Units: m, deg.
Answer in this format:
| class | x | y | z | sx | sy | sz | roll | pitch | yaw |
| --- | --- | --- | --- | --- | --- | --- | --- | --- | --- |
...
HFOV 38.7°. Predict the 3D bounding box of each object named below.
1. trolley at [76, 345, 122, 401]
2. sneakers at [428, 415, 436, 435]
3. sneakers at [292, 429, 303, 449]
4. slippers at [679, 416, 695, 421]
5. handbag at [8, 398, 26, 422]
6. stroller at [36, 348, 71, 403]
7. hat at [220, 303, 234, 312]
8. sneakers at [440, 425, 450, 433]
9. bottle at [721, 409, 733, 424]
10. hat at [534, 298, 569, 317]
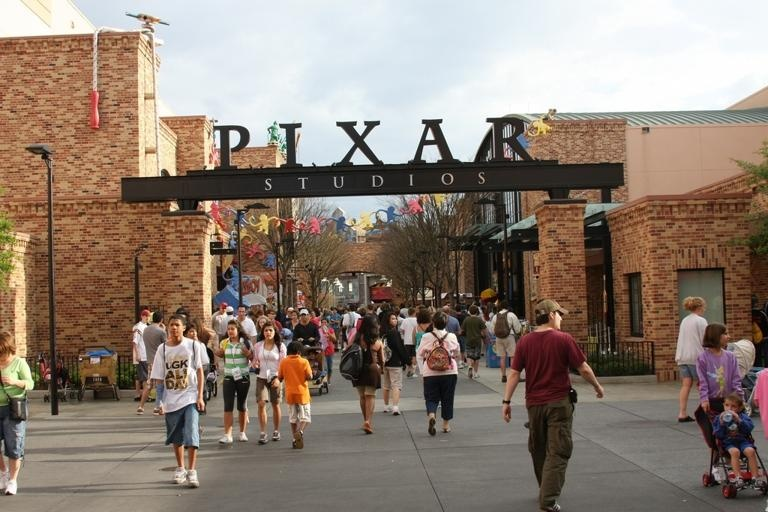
| class | x | y | z | sx | sy | sz | roll | pitch | yaw |
| --- | --- | --- | --- | --- | --- | --- | --- | --- | --- |
| trolley | -8.382 | 3.377 | 32.132 | 1.606 | 1.533 | 1.673 | 0 | -5 | -43 |
| sneakers | 1.119 | 4.010 | 25.752 | 0.166 | 0.424 | 0.189 | 0 | -8 | -4 |
| sneakers | -1.987 | 4.200 | 25.010 | 0.212 | 0.448 | 0.210 | -4 | -1 | 12 |
| slippers | 7.125 | 3.858 | 25.900 | 0.370 | 0.139 | 0.130 | -1 | 2 | -24 |
| handbag | -7.665 | 3.215 | 22.854 | 0.478 | 0.569 | 0.303 | 3 | -10 | -37 |
| stroller | -9.669 | 3.515 | 32.282 | 0.899 | 1.333 | 1.064 | -22 | -16 | 40 |
| hat | -4.679 | 1.517 | 32.571 | 0.323 | 0.243 | 0.444 | 1 | -4 | -7 |
| sneakers | 1.435 | 4.113 | 25.986 | 0.153 | 0.182 | 0.441 | 2 | 5 | 8 |
| bottle | 6.757 | 3.191 | 21.619 | 0.226 | 0.239 | 0.129 | 0 | 6 | 16 |
| hat | 3.332 | 1.009 | 21.626 | 0.688 | 0.275 | 0.431 | 3 | 1 | -14 |
